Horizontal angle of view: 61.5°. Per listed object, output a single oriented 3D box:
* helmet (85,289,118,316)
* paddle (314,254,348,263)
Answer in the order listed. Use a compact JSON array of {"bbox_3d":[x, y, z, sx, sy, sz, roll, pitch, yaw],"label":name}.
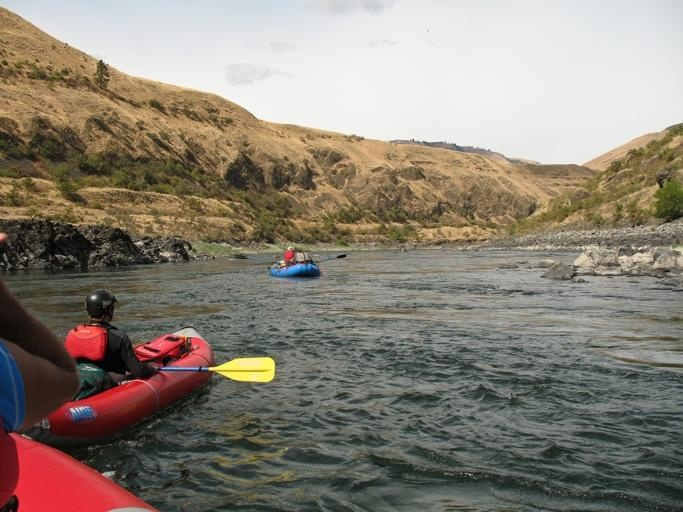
[{"bbox_3d":[-3.168,0.619,7.526,0.309,0.344,0.323,2,1,-5],"label":"helmet"},{"bbox_3d":[-0.790,0.168,39.197,3.062,0.223,0.171,-9,-16,16],"label":"paddle"}]
